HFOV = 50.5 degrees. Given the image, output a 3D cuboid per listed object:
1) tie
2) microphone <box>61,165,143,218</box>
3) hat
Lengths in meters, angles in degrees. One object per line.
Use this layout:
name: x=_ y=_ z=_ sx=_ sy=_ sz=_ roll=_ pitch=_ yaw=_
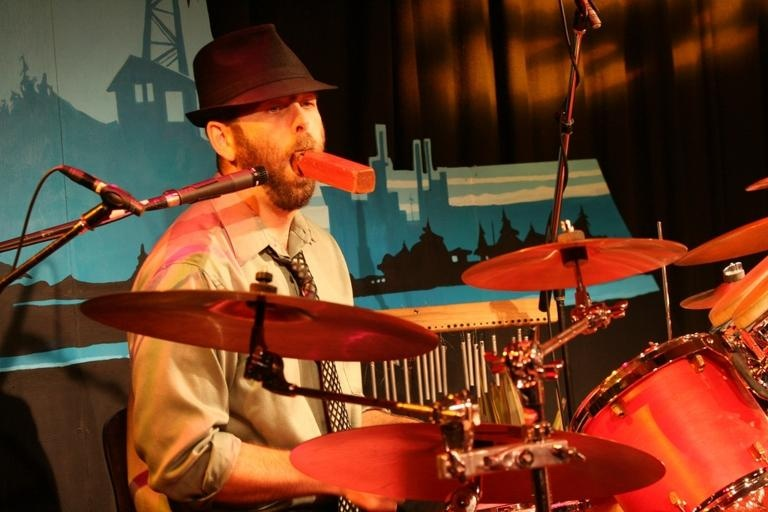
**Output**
tie: x=-0.288 y=0.519 z=3.140 sx=0.132 sy=1.164 sz=0.158 roll=-18 pitch=-16 yaw=-12
microphone: x=-1.093 y=-0.259 z=3.164 sx=0.321 sy=0.249 sz=0.101 roll=-13 pitch=-9 yaw=22
hat: x=-0.551 y=-0.711 z=3.512 sx=0.487 sy=0.253 sz=0.481 roll=-21 pitch=7 yaw=38
